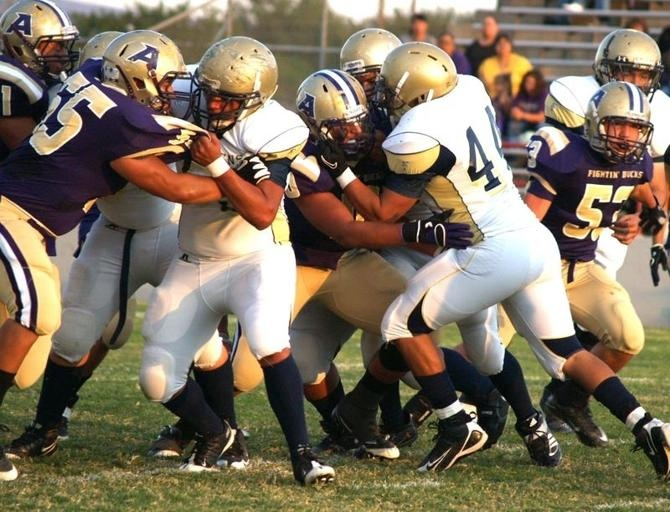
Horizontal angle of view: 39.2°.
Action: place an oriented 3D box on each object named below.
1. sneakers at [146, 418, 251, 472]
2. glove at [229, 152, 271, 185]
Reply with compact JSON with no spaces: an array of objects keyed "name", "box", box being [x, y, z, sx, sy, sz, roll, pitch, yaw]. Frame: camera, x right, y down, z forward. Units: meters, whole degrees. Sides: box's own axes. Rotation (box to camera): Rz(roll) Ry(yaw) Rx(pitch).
[{"name":"sneakers","box":[-0.625,0.913,4.523,0.189,0.224,0.555,-12,-12,28]},{"name":"glove","box":[-0.380,-0.400,4.257,0.182,0.070,0.103,27,-23,12]}]
